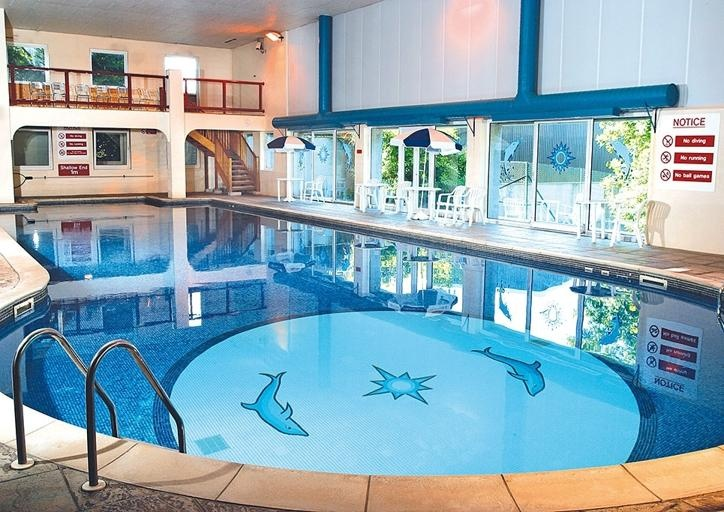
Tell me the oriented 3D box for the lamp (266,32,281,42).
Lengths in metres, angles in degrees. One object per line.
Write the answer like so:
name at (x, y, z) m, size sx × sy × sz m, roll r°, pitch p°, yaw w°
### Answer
lamp at (-3.637, -9.167, 20.451) m, size 0.538 × 0.301 × 0.403 m, roll -13°, pitch 19°, yaw -43°

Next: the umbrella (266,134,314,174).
umbrella at (-2.687, -4.064, 18.296) m, size 1.603 × 1.792 × 1.704 m, roll 0°, pitch 2°, yaw -9°

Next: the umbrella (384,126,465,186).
umbrella at (1.787, -2.779, 13.379) m, size 1.321 × 0.900 × 1.420 m, roll 8°, pitch 15°, yaw 0°
